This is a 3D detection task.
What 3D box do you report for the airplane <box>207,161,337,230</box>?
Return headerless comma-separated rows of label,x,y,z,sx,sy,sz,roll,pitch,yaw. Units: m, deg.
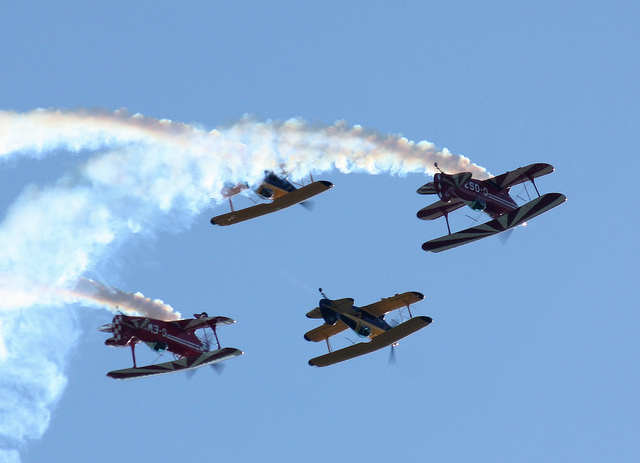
airplane,-2.768,-1.746,44.683,4.782,3.401,3.153,2,-74,-34
